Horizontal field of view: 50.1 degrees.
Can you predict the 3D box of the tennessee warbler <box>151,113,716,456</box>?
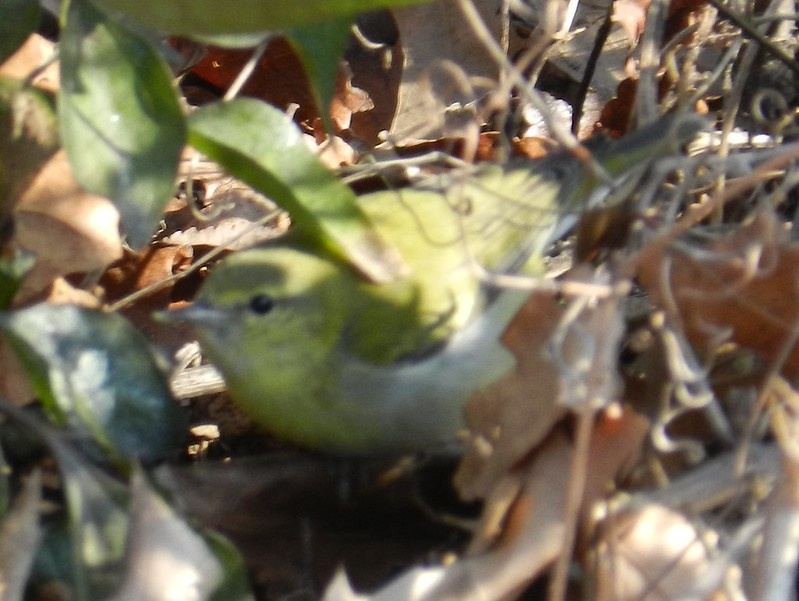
[{"bbox_3d":[0.010,0.007,0.715,0.166,0.210,0.475,17,32,38],"label":"tennessee warbler"}]
